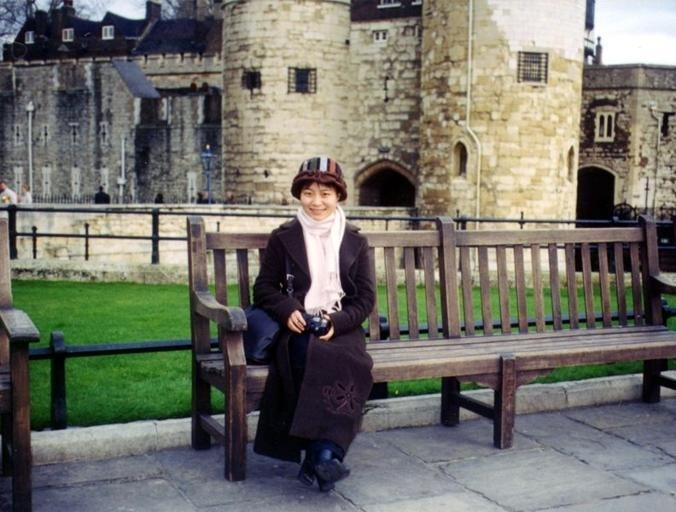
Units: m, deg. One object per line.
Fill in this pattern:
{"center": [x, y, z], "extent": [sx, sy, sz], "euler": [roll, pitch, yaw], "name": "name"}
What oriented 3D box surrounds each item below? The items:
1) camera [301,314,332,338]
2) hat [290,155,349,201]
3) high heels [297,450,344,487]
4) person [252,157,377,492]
{"center": [-0.141, 0.489, 6.503], "extent": [0.191, 0.142, 0.092], "euler": [1, 8, -2], "name": "camera"}
{"center": [-0.124, -0.631, 6.915], "extent": [0.321, 0.213, 0.341], "euler": [1, -14, -2], "name": "hat"}
{"center": [-0.097, 1.439, 6.233], "extent": [0.208, 0.149, 0.292], "euler": [10, 8, -18], "name": "high heels"}
{"center": [-0.177, 0.447, 6.567], "extent": [0.872, 2.228, 0.998], "euler": [1, 8, 2], "name": "person"}
